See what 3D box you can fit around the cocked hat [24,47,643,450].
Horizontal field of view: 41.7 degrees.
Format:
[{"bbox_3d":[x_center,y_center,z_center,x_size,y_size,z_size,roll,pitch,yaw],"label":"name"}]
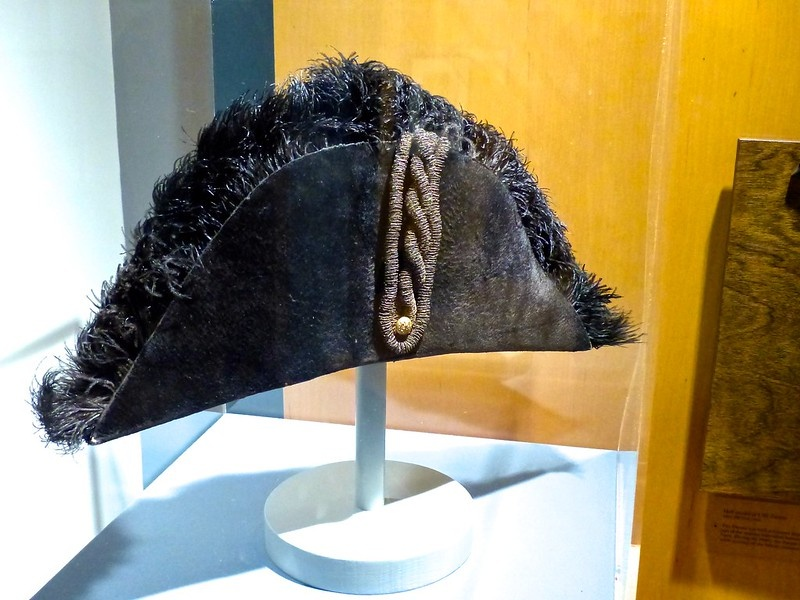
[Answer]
[{"bbox_3d":[-0.056,-0.091,1.668,1.001,0.590,0.247,-8,22,-24],"label":"cocked hat"}]
